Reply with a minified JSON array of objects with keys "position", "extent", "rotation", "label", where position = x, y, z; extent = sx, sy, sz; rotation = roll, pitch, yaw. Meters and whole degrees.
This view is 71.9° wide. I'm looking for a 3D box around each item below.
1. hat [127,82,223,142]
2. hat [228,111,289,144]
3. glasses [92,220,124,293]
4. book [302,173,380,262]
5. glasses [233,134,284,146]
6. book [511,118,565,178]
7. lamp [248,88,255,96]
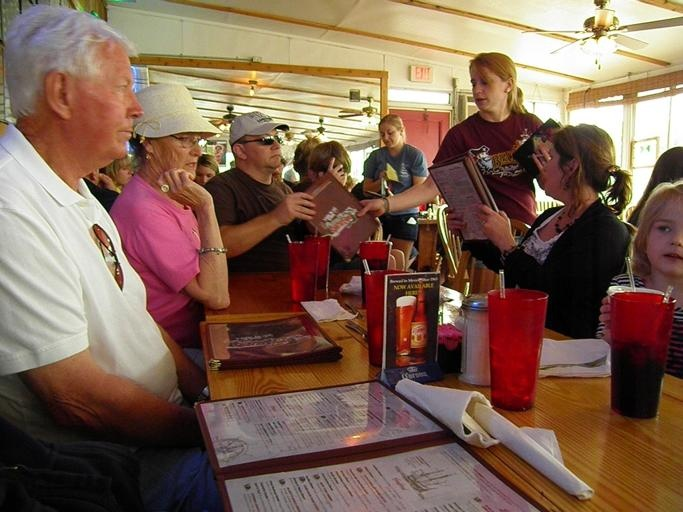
[{"position":[-0.700,-0.575,1.947],"extent":[0.397,0.184,0.302],"rotation":[-1,11,5],"label":"hat"},{"position":[-0.477,-0.718,2.685],"extent":[0.277,0.121,0.172],"rotation":[-11,11,16],"label":"hat"},{"position":[-0.640,-0.003,1.303],"extent":[0.042,0.151,0.115],"rotation":[-28,-6,-9],"label":"glasses"},{"position":[-0.001,-0.164,2.023],"extent":[0.367,0.280,0.088],"rotation":[45,5,9],"label":"book"},{"position":[-0.452,-0.636,2.659],"extent":[0.133,0.033,0.125],"rotation":[-13,6,9],"label":"glasses"},{"position":[0.928,-0.517,2.291],"extent":[0.061,0.246,0.251],"rotation":[37,59,16],"label":"book"},{"position":[-1.095,-1.985,5.785],"extent":[0.066,0.094,0.053],"rotation":[-2,12,-11],"label":"lamp"}]
